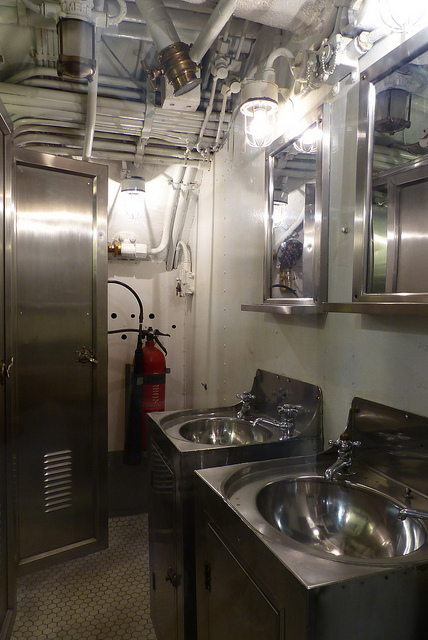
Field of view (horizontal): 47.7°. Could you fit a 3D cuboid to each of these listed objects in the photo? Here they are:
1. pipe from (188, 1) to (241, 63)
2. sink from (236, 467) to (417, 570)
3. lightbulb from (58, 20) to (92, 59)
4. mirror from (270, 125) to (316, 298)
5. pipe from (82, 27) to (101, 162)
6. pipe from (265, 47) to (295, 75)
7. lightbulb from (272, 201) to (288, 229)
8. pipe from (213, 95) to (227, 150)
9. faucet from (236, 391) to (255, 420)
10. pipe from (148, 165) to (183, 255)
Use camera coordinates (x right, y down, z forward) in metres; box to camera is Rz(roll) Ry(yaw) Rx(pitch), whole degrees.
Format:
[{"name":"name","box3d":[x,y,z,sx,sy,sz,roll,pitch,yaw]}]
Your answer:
[{"name":"pipe","box3d":[-0.008,-0.864,1.444,0.047,0.057,0.381,-3,3,-16]},{"name":"sink","box3d":[0.240,0.450,1.134,0.183,0.107,0.249,2,6,-15]},{"name":"lightbulb","box3d":[-0.407,-0.798,1.427,0.087,0.148,0.078,3,-5,-23]},{"name":"mirror","box3d":[0.250,-0.323,1.580,0.036,0.500,0.339,-3,3,-15]},{"name":"pipe","box3d":[-0.473,-0.866,1.860,0.037,0.377,0.037,13,-26,-35]},{"name":"pipe","box3d":[0.205,-0.791,1.501,0.089,0.096,0.088,-2,3,14]},{"name":"lightbulb","box3d":[0.226,-0.367,1.688,0.068,0.090,0.070,0,-4,39]},{"name":"pipe","box3d":[0.029,-0.892,2.194,0.039,0.027,0.188,-16,-32,-19]},{"name":"faucet","box3d":[0.109,0.332,1.855,0.070,0.090,0.075,0,0,32]},{"name":"pipe","box3d":[-0.303,-0.624,3.079,0.172,0.654,0.150,-3,10,-43]}]
